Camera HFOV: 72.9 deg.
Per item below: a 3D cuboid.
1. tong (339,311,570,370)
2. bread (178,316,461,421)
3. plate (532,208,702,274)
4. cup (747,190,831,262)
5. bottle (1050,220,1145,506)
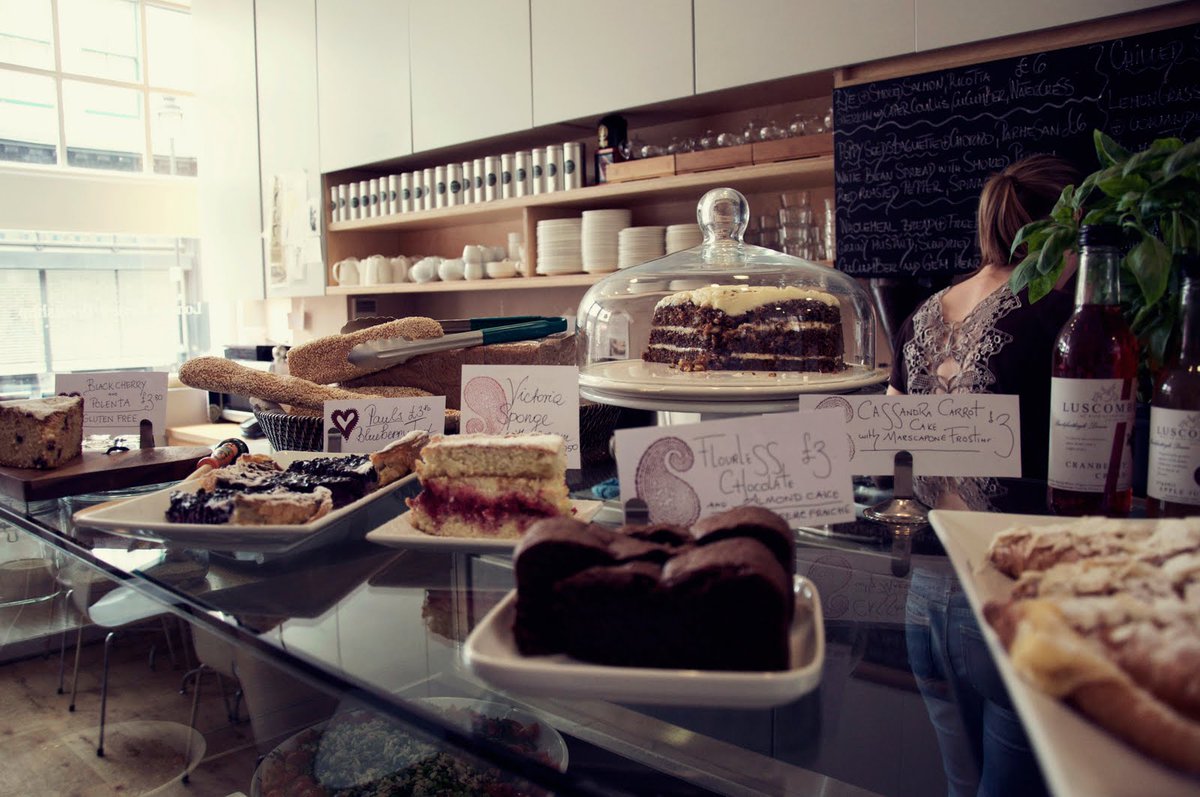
[{"bbox_3d":[-0.196,-0.114,1.534,0.534,0.077,0.117,-11,13,-22],"label":"tong"},{"bbox_3d":[-0.493,-0.048,1.418,0.280,0.067,0.262,-2,15,2],"label":"bread"},{"bbox_3d":[0.030,-0.618,3.178,0.235,0.252,0.828,-8,10,-40],"label":"plate"},{"bbox_3d":[0.687,-0.627,2.970,0.333,0.279,0.268,1,8,22],"label":"cup"},{"bbox_3d":[0.617,-0.034,1.025,0.090,0.361,0.068,1,8,27],"label":"bottle"}]
